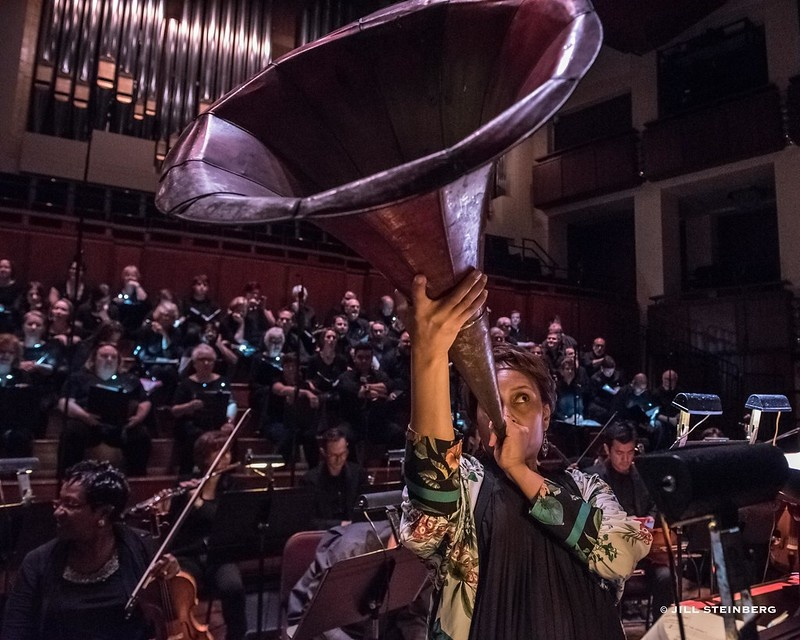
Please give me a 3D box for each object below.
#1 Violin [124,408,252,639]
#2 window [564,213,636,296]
[{"bbox_3d":[-1.257,1.236,3.895,0.152,1.507,0.064,26,0,22],"label":"Violin"},{"bbox_3d":[4.204,-1.325,13.682,1.421,2.070,1.266,0,3,41],"label":"window"}]
